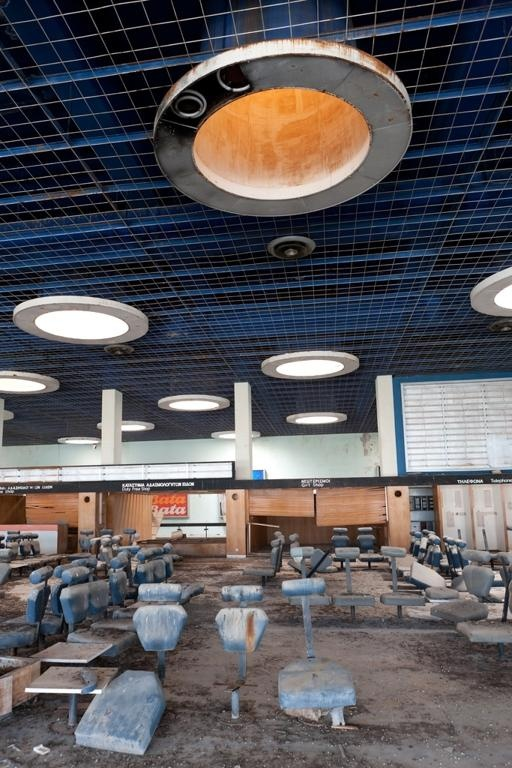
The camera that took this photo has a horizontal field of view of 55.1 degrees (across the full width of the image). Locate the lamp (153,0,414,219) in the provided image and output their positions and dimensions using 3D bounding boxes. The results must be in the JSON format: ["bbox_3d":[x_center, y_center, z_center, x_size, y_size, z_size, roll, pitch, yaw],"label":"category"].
[{"bbox_3d":[0.210,-2.061,3.929,1.902,1.002,2.191,0,-13,0],"label":"lamp"}]
